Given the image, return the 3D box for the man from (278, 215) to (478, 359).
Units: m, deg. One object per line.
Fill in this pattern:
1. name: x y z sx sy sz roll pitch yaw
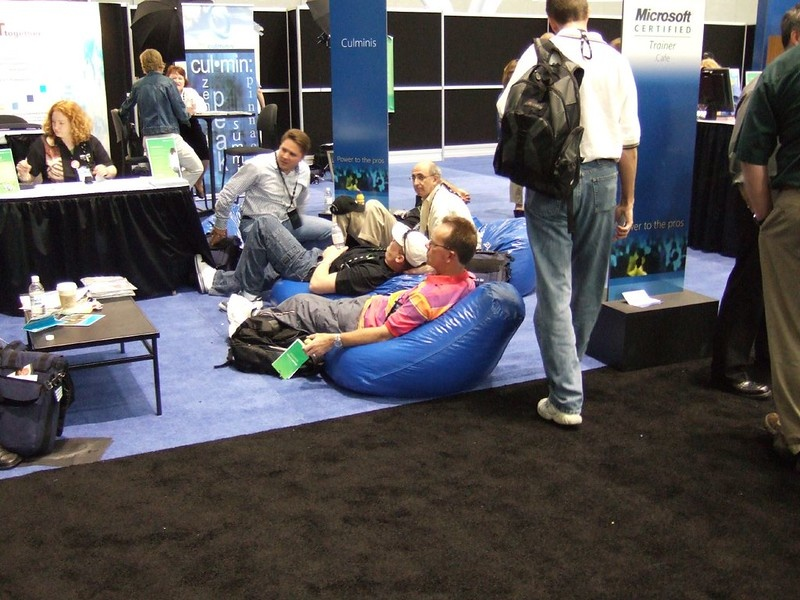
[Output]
1. man: -0.135 -0.081 3.585 1.041 0.564 0.755 9 18 32

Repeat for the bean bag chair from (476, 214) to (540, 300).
1. bean bag chair: 0.785 -0.356 5.232 0.593 0.634 0.648 -8 14 2

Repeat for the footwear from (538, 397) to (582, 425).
1. footwear: 0.805 0.589 3.227 0.093 0.123 0.257 -8 19 -25

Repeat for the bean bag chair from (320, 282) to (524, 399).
1. bean bag chair: 0.147 0.205 3.463 0.792 0.425 0.720 3 8 17

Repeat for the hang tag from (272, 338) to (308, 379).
1. hang tag: -0.604 0.346 3.646 0.213 0.224 0.052 48 13 29

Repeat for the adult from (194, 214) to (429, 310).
1. adult: -0.574 -0.250 4.540 1.393 0.595 0.772 11 25 22

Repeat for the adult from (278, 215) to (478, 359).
1. adult: -0.165 -0.040 3.575 1.041 0.564 0.755 9 18 32

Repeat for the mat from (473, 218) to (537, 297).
1. mat: 0.947 -0.440 5.357 0.592 0.632 0.648 -8 16 5

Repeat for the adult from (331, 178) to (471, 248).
1. adult: 0.012 -0.654 5.062 1.020 0.588 0.572 3 20 19

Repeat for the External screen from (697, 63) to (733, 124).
1. External screen: 3.630 -2.397 7.202 0.350 0.532 0.825 1 19 9

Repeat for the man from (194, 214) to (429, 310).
1. man: -0.615 -0.262 4.584 1.393 0.595 0.772 11 25 22
